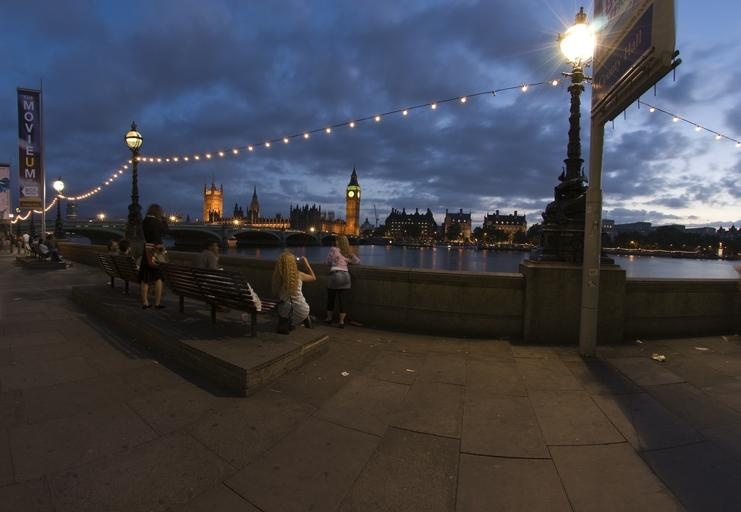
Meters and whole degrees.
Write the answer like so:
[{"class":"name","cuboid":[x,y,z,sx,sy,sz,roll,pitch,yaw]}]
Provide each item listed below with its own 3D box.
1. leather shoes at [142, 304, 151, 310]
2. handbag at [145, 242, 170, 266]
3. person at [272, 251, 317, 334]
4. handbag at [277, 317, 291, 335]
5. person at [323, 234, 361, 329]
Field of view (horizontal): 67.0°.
[{"class":"leather shoes","cuboid":[-4.005,0.902,9.982,0.059,0.075,0.183,1,4,30]},{"class":"handbag","cuboid":[-3.833,-0.036,10.088,0.435,0.461,0.331,0,1,-37]},{"class":"person","cuboid":[-1.361,0.530,10.077,0.749,1.388,2.814,0,6,-8]},{"class":"handbag","cuboid":[-1.365,1.105,8.858,0.291,0.342,0.191,1,-9,-4]},{"class":"person","cuboid":[-0.541,0.422,10.234,0.577,1.644,0.633,1,5,0]}]
